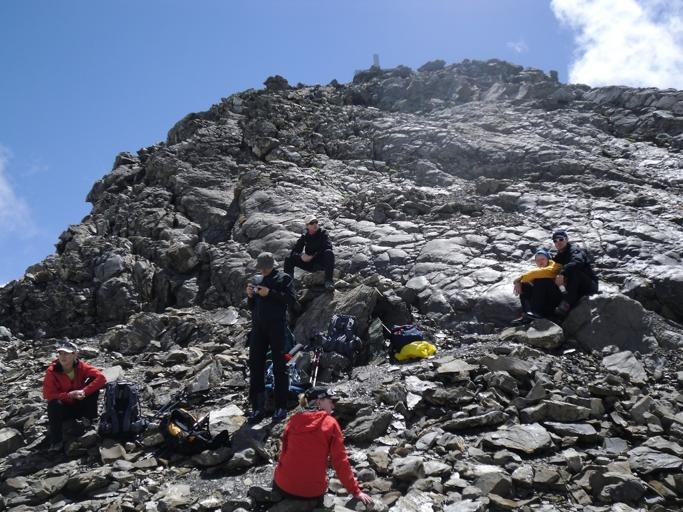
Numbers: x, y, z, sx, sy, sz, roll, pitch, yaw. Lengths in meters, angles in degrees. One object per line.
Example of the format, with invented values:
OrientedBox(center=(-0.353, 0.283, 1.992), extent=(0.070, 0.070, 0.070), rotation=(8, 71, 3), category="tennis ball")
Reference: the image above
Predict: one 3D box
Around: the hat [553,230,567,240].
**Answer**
OrientedBox(center=(5.737, -0.548, 16.944), extent=(0.382, 0.223, 0.233), rotation=(14, -27, -9), category="hat")

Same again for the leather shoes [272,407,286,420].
OrientedBox(center=(-1.376, 3.564, 14.542), extent=(0.206, 0.121, 0.337), rotation=(0, 12, -12), category="leather shoes")

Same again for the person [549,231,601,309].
OrientedBox(center=(5.883, 0.320, 16.579), extent=(1.018, 2.131, 0.700), rotation=(-14, -29, 11), category="person")

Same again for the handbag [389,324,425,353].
OrientedBox(center=(1.664, 2.130, 16.651), extent=(0.917, 0.710, 0.395), rotation=(-13, -28, 14), category="handbag")

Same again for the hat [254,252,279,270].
OrientedBox(center=(-1.744, 0.109, 15.103), extent=(0.430, 0.211, 0.487), rotation=(0, 6, 2), category="hat")

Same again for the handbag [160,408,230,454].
OrientedBox(center=(-3.323, 3.857, 14.121), extent=(1.536, 0.833, 0.539), rotation=(-3, -45, 3), category="handbag")

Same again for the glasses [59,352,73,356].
OrientedBox(center=(-6.216, 2.233, 14.631), extent=(0.282, 0.087, 0.113), rotation=(2, -26, -17), category="glasses")

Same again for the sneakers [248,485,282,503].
OrientedBox(center=(-1.520, 4.718, 12.701), extent=(0.734, 0.230, 0.229), rotation=(6, -2, 18), category="sneakers")

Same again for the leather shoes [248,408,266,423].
OrientedBox(center=(-1.913, 3.620, 14.549), extent=(0.198, 0.168, 0.487), rotation=(-9, -6, 20), category="leather shoes")

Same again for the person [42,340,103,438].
OrientedBox(center=(-6.096, 3.100, 14.679), extent=(1.202, 2.259, 1.007), rotation=(13, -35, -34), category="person")
